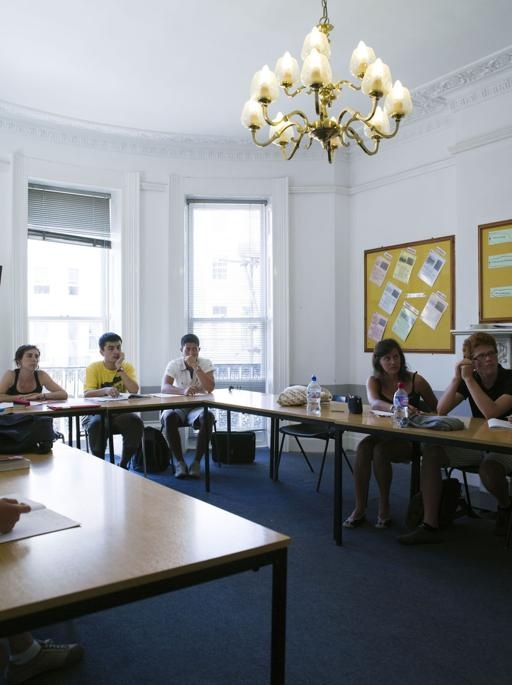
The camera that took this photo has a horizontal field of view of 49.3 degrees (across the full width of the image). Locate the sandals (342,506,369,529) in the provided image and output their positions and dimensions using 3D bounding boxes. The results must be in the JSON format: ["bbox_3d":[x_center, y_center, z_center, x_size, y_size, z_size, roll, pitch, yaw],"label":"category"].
[{"bbox_3d":[0.546,0.977,3.058,0.056,0.075,0.173,-12,-20,32],"label":"sandals"}]

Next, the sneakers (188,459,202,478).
[{"bbox_3d":[-0.475,0.993,4.383,0.080,0.114,0.253,0,-7,-2],"label":"sneakers"}]

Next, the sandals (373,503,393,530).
[{"bbox_3d":[0.711,0.974,3.113,0.066,0.101,0.230,-4,-16,12],"label":"sandals"}]

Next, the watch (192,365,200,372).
[{"bbox_3d":[-0.476,0.205,4.441,0.052,0.025,0.072,1,3,-25],"label":"watch"}]

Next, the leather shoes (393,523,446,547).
[{"bbox_3d":[0.827,0.970,2.838,0.260,0.123,0.092,-1,-6,-11],"label":"leather shoes"}]

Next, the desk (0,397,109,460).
[{"bbox_3d":[-1.155,0.511,3.455,0.356,0.205,0.342,-3,0,-43],"label":"desk"}]

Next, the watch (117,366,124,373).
[{"bbox_3d":[-1.049,0.212,4.274,0.036,0.026,0.051,6,-31,-4],"label":"watch"}]

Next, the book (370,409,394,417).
[{"bbox_3d":[0.682,0.378,3.024,0.106,0.018,0.290,-1,1,10],"label":"book"}]

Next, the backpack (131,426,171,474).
[{"bbox_3d":[-0.805,0.847,4.414,0.299,0.379,0.343,2,-3,-16],"label":"backpack"}]
